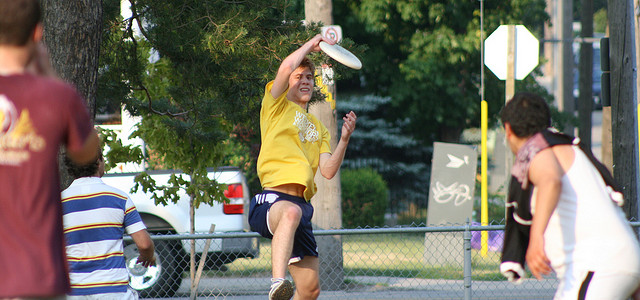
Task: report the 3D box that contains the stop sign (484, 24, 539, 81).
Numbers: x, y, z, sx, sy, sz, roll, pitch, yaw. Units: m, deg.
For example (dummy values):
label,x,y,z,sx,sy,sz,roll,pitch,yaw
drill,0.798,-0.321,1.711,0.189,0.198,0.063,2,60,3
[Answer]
label,x,y,z,sx,sy,sz,roll,pitch,yaw
stop sign,5.431,-2.714,43.865,1.520,1.143,0.441,-2,-1,6
